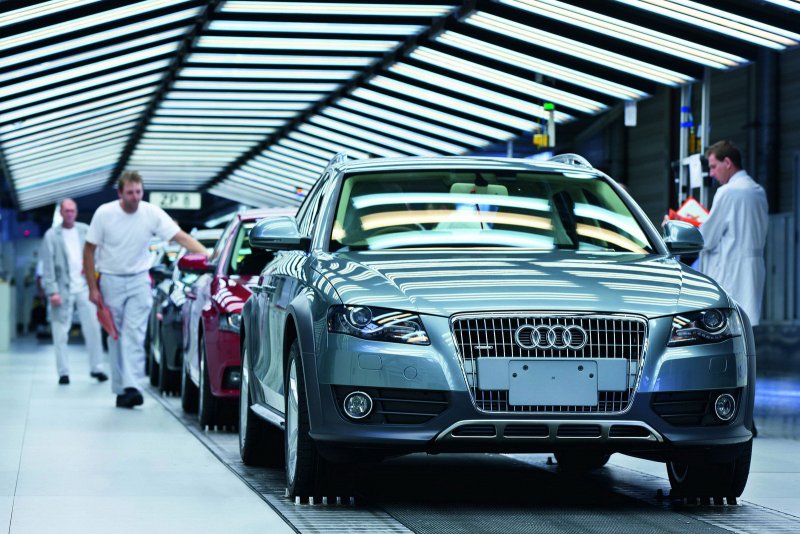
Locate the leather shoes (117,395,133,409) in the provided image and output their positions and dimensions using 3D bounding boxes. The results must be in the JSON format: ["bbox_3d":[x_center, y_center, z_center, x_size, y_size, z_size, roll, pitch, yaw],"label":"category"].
[{"bbox_3d":[-3.192,1.570,13.595,0.097,0.115,0.269,2,-7,-22],"label":"leather shoes"}]

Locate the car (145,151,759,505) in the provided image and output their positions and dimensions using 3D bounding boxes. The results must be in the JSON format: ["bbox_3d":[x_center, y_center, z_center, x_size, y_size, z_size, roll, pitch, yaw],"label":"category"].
[{"bbox_3d":[0.390,0.564,9.279,3.005,2.115,5.600,1,-4,-7],"label":"car"}]
